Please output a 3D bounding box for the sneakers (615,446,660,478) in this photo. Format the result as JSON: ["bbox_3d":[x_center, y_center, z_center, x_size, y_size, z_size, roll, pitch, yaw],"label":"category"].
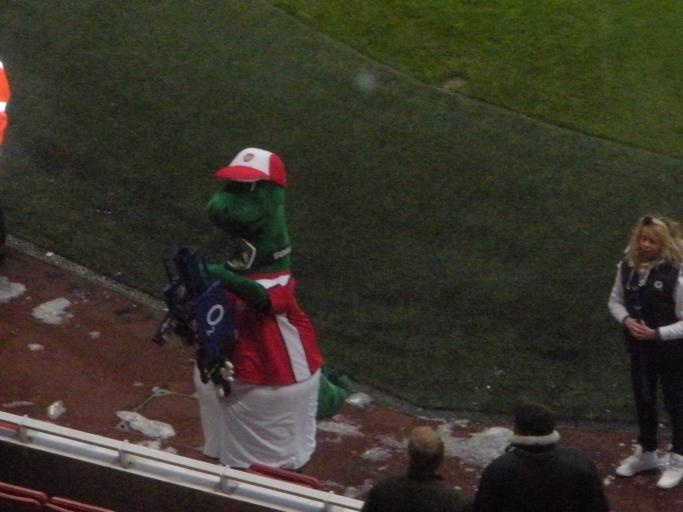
[{"bbox_3d":[1.971,1.371,6.100,0.371,0.152,0.109,-10,28,-28],"label":"sneakers"}]

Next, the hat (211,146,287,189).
[{"bbox_3d":[-0.606,-0.597,5.776,0.421,0.187,0.534,23,17,18],"label":"hat"}]
